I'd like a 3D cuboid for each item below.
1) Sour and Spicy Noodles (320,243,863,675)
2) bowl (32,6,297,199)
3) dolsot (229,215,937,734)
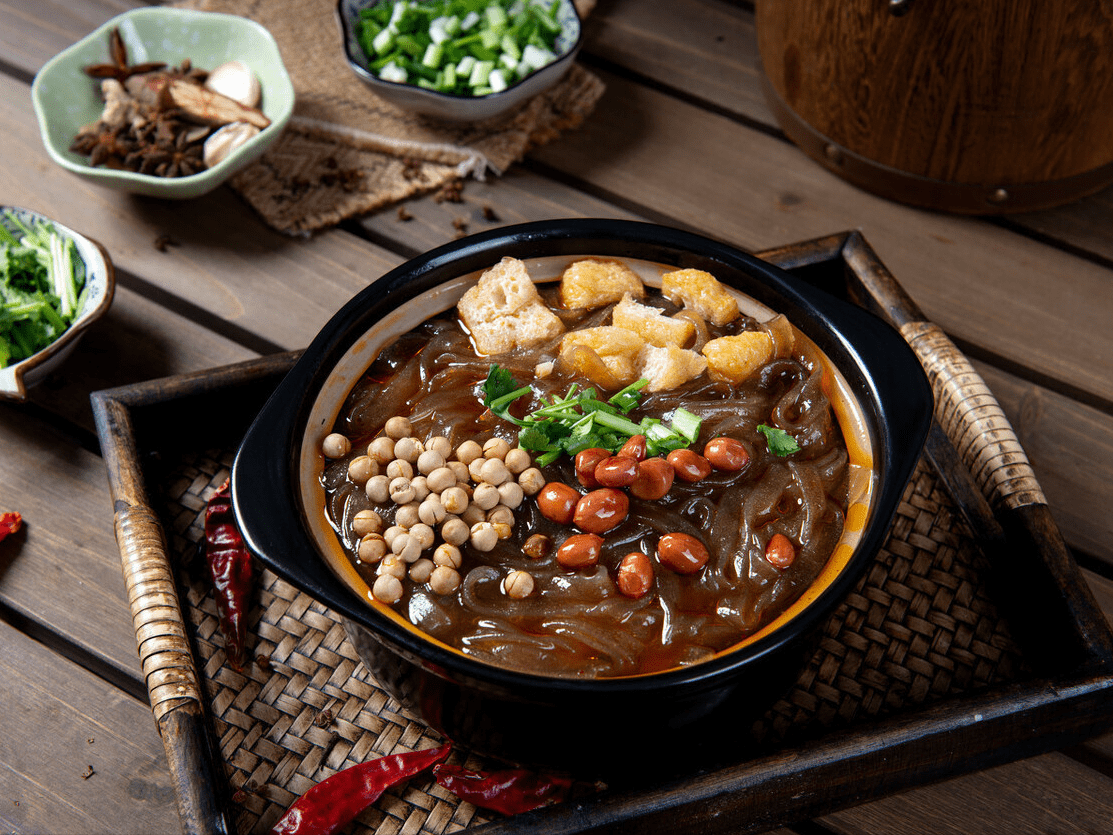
[{"bbox_3d":[0.020,0.153,2.257,1.085,0.410,1.059,-36,68,-25],"label":"Sour and Spicy Noodles"},{"bbox_3d":[-1.217,-1.078,3.061,0.865,0.297,0.744,-15,62,-11],"label":"bowl"},{"bbox_3d":[0.054,0.104,2.153,1.193,0.396,1.199,31,70,15],"label":"dolsot"}]
